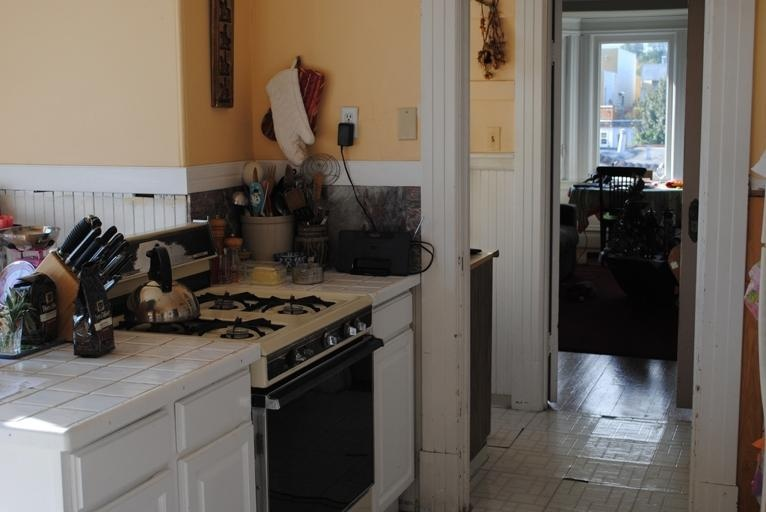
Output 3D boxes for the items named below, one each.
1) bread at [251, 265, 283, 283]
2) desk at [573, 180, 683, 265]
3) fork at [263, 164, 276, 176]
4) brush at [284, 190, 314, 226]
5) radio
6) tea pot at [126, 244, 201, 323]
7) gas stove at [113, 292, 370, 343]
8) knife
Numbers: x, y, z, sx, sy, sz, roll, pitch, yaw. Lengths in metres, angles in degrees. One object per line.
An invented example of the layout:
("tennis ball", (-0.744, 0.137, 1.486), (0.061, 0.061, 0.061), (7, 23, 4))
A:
("bread", (-0.539, 0.089, 2.777), (0.106, 0.055, 0.080), (5, 10, 19))
("desk", (3.161, -0.608, 7.979), (1.235, 1.020, 1.330), (2, 8, 27))
("fork", (-0.596, -0.438, 3.141), (0.038, 0.074, 0.015), (4, 2, 11))
("brush", (-0.490, -0.267, 3.078), (0.100, 0.149, 0.146), (7, -3, 20))
("radio", (-0.009, -0.041, 2.993), (0.402, 0.278, 0.094), (2, -2, 12))
("tea pot", (-0.807, 0.102, 2.208), (0.242, 0.281, 0.117), (-4, 11, -18))
("gas stove", (-0.552, 0.234, 2.281), (0.656, 0.148, 0.690), (3, 9, 24))
("knife", (-0.961, -0.014, 2.024), (0.233, 0.230, 0.063), (43, 13, 17))
